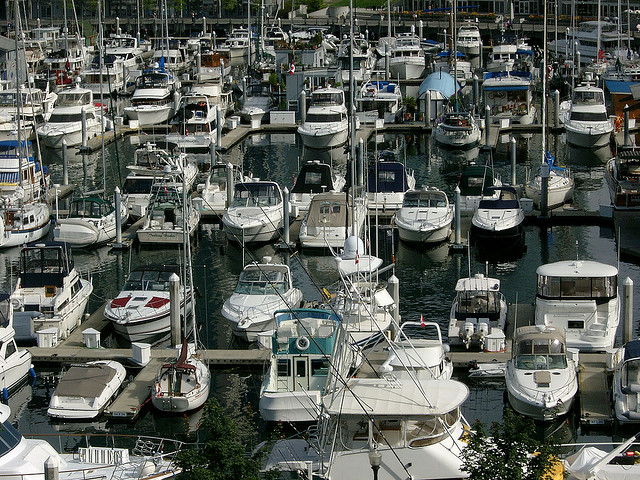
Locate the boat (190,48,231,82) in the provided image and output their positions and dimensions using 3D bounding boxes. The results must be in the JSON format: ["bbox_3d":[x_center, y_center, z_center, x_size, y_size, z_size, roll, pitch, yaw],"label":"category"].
[{"bbox_3d":[-7.376,-12.487,94.430,1.562,1.975,6.649,0,12,9],"label":"boat"}]

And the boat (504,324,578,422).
[{"bbox_3d":[6.917,4.346,42.375,2.046,2.175,2.121,-2,15,9],"label":"boat"}]

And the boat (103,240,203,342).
[{"bbox_3d":[-6.140,2.000,49.147,2.621,2.801,7.178,4,11,7],"label":"boat"}]

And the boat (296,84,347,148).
[{"bbox_3d":[0.273,-6.973,73.494,2.452,3.653,8.348,0,13,8],"label":"boat"}]

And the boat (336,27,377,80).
[{"bbox_3d":[2.293,-11.867,87.076,1.795,2.635,6.602,0,14,4],"label":"boat"}]

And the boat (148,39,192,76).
[{"bbox_3d":[-11.414,-13.356,97.486,2.940,3.396,7.486,-3,8,-19],"label":"boat"}]

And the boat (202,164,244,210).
[{"bbox_3d":[-4.684,-2.322,59.967,1.104,0.998,2.651,1,31,0],"label":"boat"}]

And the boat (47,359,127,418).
[{"bbox_3d":[-7.613,4.848,44.248,1.788,1.506,4.084,1,15,8],"label":"boat"}]

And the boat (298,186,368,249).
[{"bbox_3d":[0.496,-1.221,56.867,2.583,1.776,5.073,0,19,3],"label":"boat"}]

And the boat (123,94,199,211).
[{"bbox_3d":[-7.754,-5.162,62.902,2.103,4.157,7.139,3,47,0],"label":"boat"}]

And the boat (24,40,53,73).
[{"bbox_3d":[-20.920,-13.632,97.905,1.453,2.776,6.486,0,8,-3],"label":"boat"}]

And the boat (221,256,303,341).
[{"bbox_3d":[-2.032,1.850,48.848,2.345,2.742,5.639,2,12,12],"label":"boat"}]

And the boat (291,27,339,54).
[{"bbox_3d":[0.086,-15.575,103.314,3.910,1.755,3.826,-1,23,-2],"label":"boat"}]

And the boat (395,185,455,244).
[{"bbox_3d":[4.435,-1.317,57.343,2.424,2.056,5.747,0,14,8],"label":"boat"}]

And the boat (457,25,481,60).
[{"bbox_3d":[11.218,-15.452,102.818,1.459,2.107,5.259,1,7,2],"label":"boat"}]

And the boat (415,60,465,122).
[{"bbox_3d":[6.599,-8.297,77.780,2.101,2.273,3.537,3,30,8],"label":"boat"}]

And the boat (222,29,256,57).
[{"bbox_3d":[-6.306,-15.252,102.843,2.327,1.774,5.668,-5,16,-2],"label":"boat"}]

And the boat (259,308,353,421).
[{"bbox_3d":[-0.498,3.893,42.678,1.682,2.613,5.014,0,14,2],"label":"boat"}]

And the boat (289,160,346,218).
[{"bbox_3d":[-0.353,-2.557,59.805,1.364,1.455,3.054,2,21,8],"label":"boat"}]

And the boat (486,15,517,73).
[{"bbox_3d":[12.737,-13.730,94.158,0.965,2.179,4.859,-26,31,-11],"label":"boat"}]

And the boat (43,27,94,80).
[{"bbox_3d":[-18.458,-13.874,98.799,2.438,2.825,8.089,0,12,1],"label":"boat"}]

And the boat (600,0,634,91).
[{"bbox_3d":[18.334,-10.716,83.724,1.722,8.502,4.863,0,5,5],"label":"boat"}]

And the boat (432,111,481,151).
[{"bbox_3d":[7.149,-5.783,71.502,1.754,1.727,2.426,-17,20,-40],"label":"boat"}]

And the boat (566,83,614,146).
[{"bbox_3d":[14.556,-7.079,73.970,2.677,3.346,9.671,2,14,8],"label":"boat"}]

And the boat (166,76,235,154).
[{"bbox_3d":[-6.843,-6.955,73.727,1.904,2.636,7.539,0,16,1],"label":"boat"}]

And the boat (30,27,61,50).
[{"bbox_3d":[-21.428,-16.052,103.898,1.948,1.974,3.035,0,5,3],"label":"boat"}]

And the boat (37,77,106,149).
[{"bbox_3d":[-13.646,-7.373,74.810,2.629,3.632,7.732,0,16,11],"label":"boat"}]

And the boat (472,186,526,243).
[{"bbox_3d":[7.661,-1.276,57.346,2.208,2.121,5.770,1,15,15],"label":"boat"}]
